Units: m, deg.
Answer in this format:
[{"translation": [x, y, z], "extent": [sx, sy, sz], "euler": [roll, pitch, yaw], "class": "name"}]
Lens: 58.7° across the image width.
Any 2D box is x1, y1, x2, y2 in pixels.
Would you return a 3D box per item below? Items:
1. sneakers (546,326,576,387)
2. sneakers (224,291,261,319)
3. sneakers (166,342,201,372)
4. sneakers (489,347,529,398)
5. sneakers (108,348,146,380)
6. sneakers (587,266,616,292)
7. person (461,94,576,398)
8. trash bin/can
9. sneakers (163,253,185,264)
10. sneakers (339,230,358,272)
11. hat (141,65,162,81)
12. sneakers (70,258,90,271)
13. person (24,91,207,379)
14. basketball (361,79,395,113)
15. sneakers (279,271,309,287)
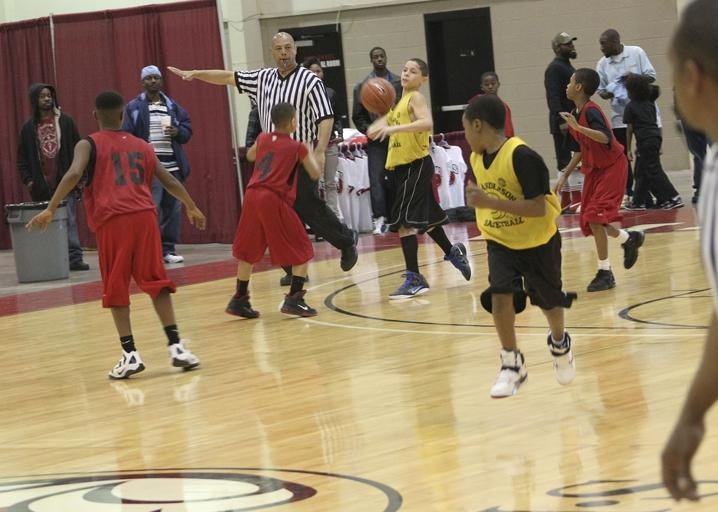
[{"translation": [1.169, 0.593, 3.677], "extent": [0.129, 0.405, 0.159], "euler": [-9, 7, 22], "class": "sneakers"}, {"translation": [-1.123, 0.463, 6.120], "extent": [0.399, 0.253, 0.147], "euler": [10, 14, -35], "class": "sneakers"}, {"translation": [-1.272, 0.737, 4.706], "extent": [0.115, 0.165, 0.289], "euler": [-10, -5, 20], "class": "sneakers"}, {"translation": [0.803, 0.633, 3.595], "extent": [0.130, 0.258, 0.372], "euler": [2, 19, 39], "class": "sneakers"}, {"translation": [-1.677, 0.803, 4.764], "extent": [0.380, 0.274, 0.132], "euler": [-7, -2, 26], "class": "sneakers"}, {"translation": [2.296, 0.229, 6.043], "extent": [0.367, 0.183, 0.129], "euler": [-8, 6, -40], "class": "sneakers"}, {"translation": [0.886, -0.050, 3.541], "extent": [0.567, 1.734, 0.688], "euler": [-2, 8, 18], "class": "person"}, {"translation": [-4.323, -0.187, 8.688], "extent": [1.142, 1.202, 1.015], "euler": [-5, 1, -34], "class": "trash bin/can"}, {"translation": [-2.823, 0.027, 9.754], "extent": [0.328, 0.160, 0.131], "euler": [-2, 7, 3], "class": "sneakers"}, {"translation": [-0.095, -0.039, 6.767], "extent": [0.189, 0.471, 0.165], "euler": [-3, 11, -45], "class": "sneakers"}, {"translation": [-3.123, -2.792, 9.622], "extent": [0.238, 0.214, 0.163], "euler": [-11, 10, -38], "class": "hat"}, {"translation": [-4.264, 0.141, 9.824], "extent": [0.349, 0.167, 0.132], "euler": [-2, 3, 2], "class": "sneakers"}, {"translation": [-1.652, -0.160, 4.627], "extent": [0.967, 2.099, 0.504], "euler": [-7, 7, -15], "class": "person"}, {"translation": [0.179, -1.587, 6.259], "extent": [0.341, 0.367, 0.294], "euler": [-7, 8, -18], "class": "basketball"}, {"translation": [-0.817, 0.280, 7.386], "extent": [0.457, 0.200, 0.183], "euler": [4, -12, -28], "class": "sneakers"}]
